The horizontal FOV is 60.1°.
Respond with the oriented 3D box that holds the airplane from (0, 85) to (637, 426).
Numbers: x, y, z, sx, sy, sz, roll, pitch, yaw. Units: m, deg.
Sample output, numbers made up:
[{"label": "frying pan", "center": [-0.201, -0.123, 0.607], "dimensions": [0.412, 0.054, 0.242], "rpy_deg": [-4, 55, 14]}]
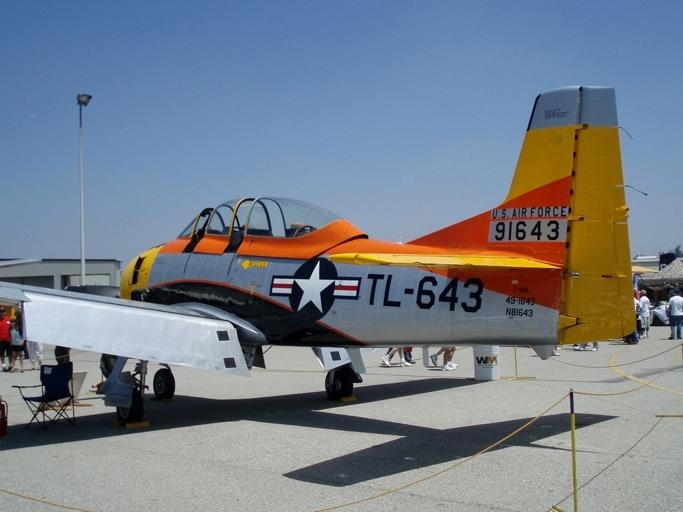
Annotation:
[{"label": "airplane", "center": [-0.616, 0.332, 10.353], "dimensions": [9.002, 2.349, 9.603], "rpy_deg": [0, 0, 42]}]
